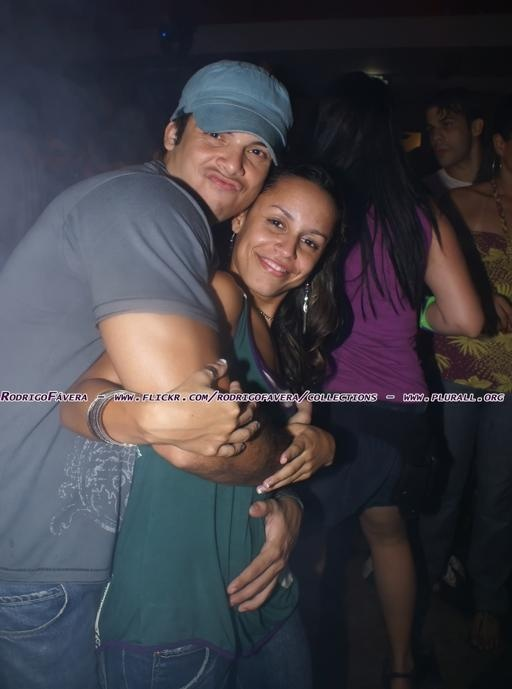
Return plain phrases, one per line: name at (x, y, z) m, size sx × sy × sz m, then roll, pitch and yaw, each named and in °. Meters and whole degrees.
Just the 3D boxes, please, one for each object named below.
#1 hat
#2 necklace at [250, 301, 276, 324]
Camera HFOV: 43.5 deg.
hat at (-0.044, -0.444, 1.223) m, size 0.236 × 0.188 × 0.126 m, roll -5°, pitch 19°, yaw -5°
necklace at (0.019, -0.070, 1.409) m, size 0.036 × 0.050 × 0.011 m, roll 15°, pitch 72°, yaw 57°
